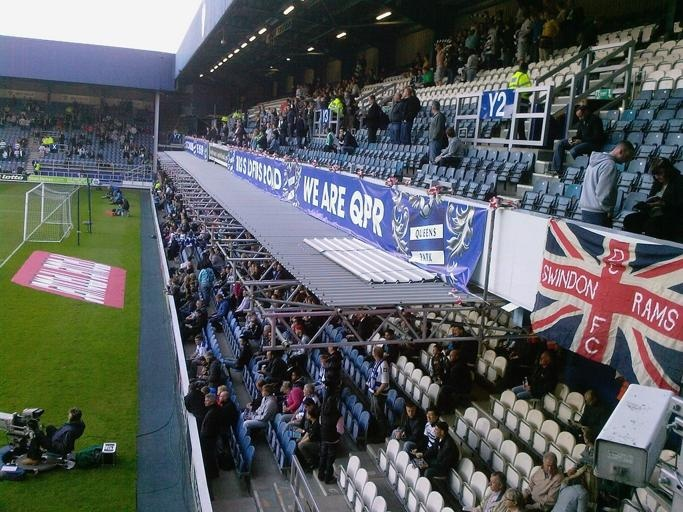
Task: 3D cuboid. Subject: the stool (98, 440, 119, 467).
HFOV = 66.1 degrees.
[{"bbox_3d":[-4.951,4.095,11.061,0.302,0.408,0.545,0,8,-9],"label":"stool"}]
